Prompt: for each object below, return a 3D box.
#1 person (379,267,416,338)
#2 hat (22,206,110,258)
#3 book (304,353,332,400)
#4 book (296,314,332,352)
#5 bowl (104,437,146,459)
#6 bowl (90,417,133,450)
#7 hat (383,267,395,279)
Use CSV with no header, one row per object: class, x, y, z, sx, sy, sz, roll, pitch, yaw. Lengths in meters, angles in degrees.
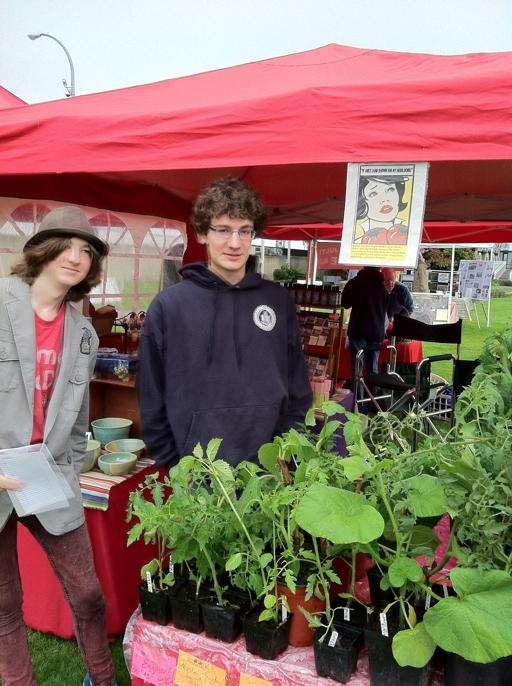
person,1.747,-0.521,6.140,0.616,0.745,0.298,-1,1,-4
hat,-0.580,-0.314,1.529,0.177,0.100,0.197,1,-19,-15
book,0.411,0.235,3.432,0.111,0.287,0.236,-18,-7,29
book,0.484,-0.101,4.089,0.247,0.308,0.095,0,-30,12
bowl,-0.637,0.511,2.436,0.161,0.057,0.149,1,19,0
bowl,-0.734,0.449,2.524,0.153,0.092,0.151,0,3,0
hat,1.597,-0.842,6.062,0.135,0.165,0.155,-9,14,6
